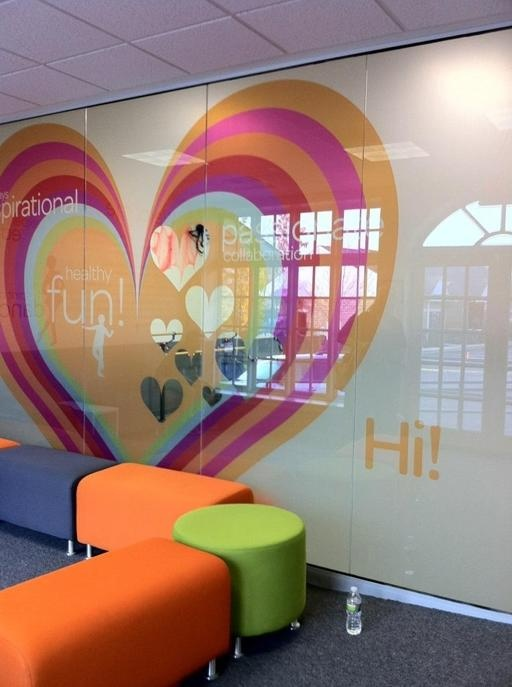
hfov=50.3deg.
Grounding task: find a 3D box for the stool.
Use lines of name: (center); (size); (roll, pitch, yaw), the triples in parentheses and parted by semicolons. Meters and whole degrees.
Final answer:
stool: (-0.058, 0.948, 2.460); (0.525, 0.467, 0.535); (2, 7, 20)
